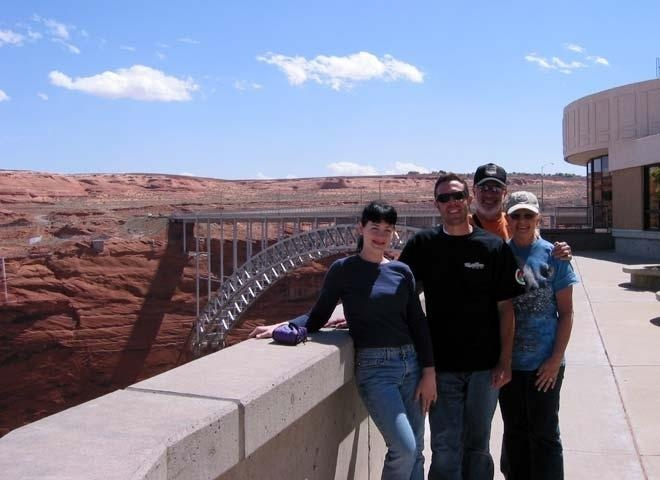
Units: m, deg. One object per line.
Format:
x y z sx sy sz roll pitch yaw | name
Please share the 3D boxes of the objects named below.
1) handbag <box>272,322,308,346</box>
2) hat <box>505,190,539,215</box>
-0.221 0.506 2.569 0.141 0.049 0.125 3 3 30 | handbag
1.277 -0.249 3.117 0.166 0.108 0.217 -2 -10 18 | hat
